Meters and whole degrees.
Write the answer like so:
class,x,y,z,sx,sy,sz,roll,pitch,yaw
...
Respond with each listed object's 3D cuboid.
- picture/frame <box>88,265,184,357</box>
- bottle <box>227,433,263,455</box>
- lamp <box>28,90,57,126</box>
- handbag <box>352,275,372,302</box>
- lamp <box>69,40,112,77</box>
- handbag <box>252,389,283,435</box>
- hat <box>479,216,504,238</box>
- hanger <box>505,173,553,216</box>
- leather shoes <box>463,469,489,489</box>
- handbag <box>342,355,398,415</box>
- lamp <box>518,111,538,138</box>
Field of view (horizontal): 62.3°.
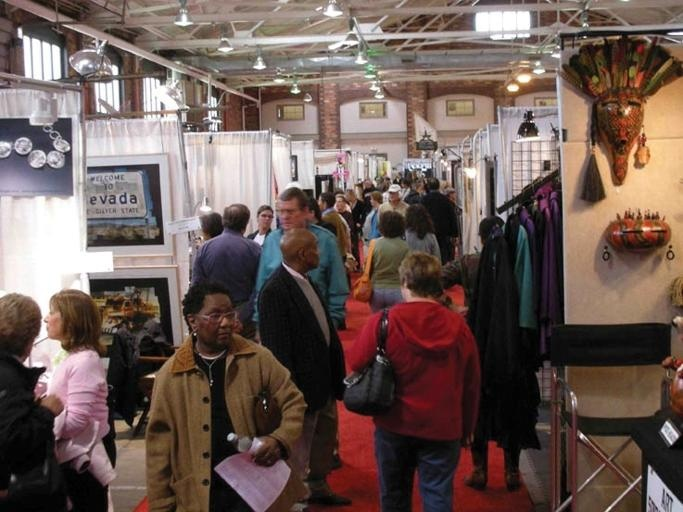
class,x,y,z,sx,sy,sz,roll,pitch,yaw
picture/frame,-1.909,0.507,5.327,0.764,1.193,0.050,-6,2,1
bottle,-0.393,0.757,2.261,0.051,0.055,0.134,-23,-38,32
lamp,-2.263,-1.079,4.279,0.233,0.205,0.245,0,5,-10
handbag,0.174,0.209,5.254,0.186,0.391,0.374,1,3,-1
lamp,-2.592,-2.069,5.827,0.369,0.435,0.660,-3,5,-24
handbag,-0.354,0.662,2.406,0.164,0.167,0.101,7,1,-38
hat,1.025,-0.176,3.895,0.153,0.181,0.338,-2,4,-4
hanger,1.347,-0.457,4.072,0.382,0.255,0.545,0,5,20
leather shoes,0.913,1.512,3.874,0.164,0.133,0.128,-1,4,7
handbag,0.113,0.625,2.837,0.163,0.353,0.328,14,-21,-21
lamp,1.986,-1.388,6.047,0.172,0.333,0.579,0,5,19
